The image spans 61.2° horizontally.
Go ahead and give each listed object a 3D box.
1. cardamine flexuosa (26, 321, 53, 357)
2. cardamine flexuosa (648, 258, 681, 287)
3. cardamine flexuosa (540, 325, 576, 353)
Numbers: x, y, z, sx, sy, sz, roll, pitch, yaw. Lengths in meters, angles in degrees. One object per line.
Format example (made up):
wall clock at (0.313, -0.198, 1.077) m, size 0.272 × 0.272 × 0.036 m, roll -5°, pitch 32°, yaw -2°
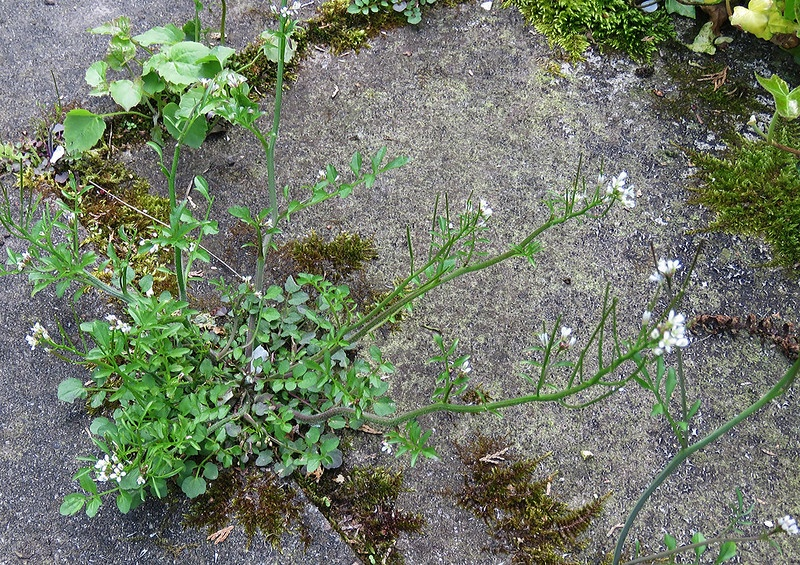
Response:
cardamine flexuosa at (-2.211, 0.355, 4.146) m, size 0.170 × 0.171 × 0.100 m, roll -54°, pitch 45°, yaw 6°
cardamine flexuosa at (1.458, -0.051, 3.742) m, size 0.068 × 0.132 × 0.126 m, roll 33°, pitch 30°, yaw 32°
cardamine flexuosa at (0.883, 0.317, 3.820) m, size 0.121 × 0.210 × 0.135 m, roll -28°, pitch 74°, yaw 8°
